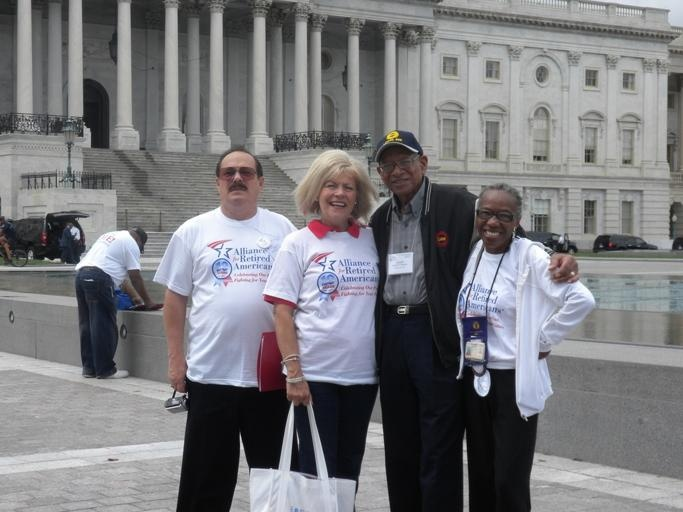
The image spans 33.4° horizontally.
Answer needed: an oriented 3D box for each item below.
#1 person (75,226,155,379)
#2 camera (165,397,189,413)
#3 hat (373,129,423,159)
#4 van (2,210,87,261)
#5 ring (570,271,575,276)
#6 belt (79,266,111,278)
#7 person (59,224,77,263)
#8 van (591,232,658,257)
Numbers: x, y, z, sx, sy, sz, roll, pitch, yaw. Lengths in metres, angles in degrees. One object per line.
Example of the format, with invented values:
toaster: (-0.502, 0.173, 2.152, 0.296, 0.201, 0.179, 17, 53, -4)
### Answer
person: (-2.819, 0.616, 14.168, 0.925, 1.852, 0.894, -9, 7, -32)
camera: (-1.291, 1.167, 8.913, 0.200, 0.061, 0.147, -8, -17, 20)
hat: (0.439, -0.887, 8.840, 0.324, 0.231, 0.515, -17, -7, 1)
van: (-8.704, -0.631, 33.405, 1.246, 1.200, 3.130, 1, 5, -40)
ring: (1.700, 0.132, 8.336, 0.031, 0.030, 0.008, 5, -10, -1)
belt: (-3.022, 0.223, 13.783, 0.230, 0.158, 0.161, -1, -11, 14)
person: (-7.655, -0.311, 31.898, 0.451, 1.072, 0.757, -7, 6, -13)
van: (14.561, -0.646, 59.037, 2.722, 0.942, 2.233, -8, 7, -23)
